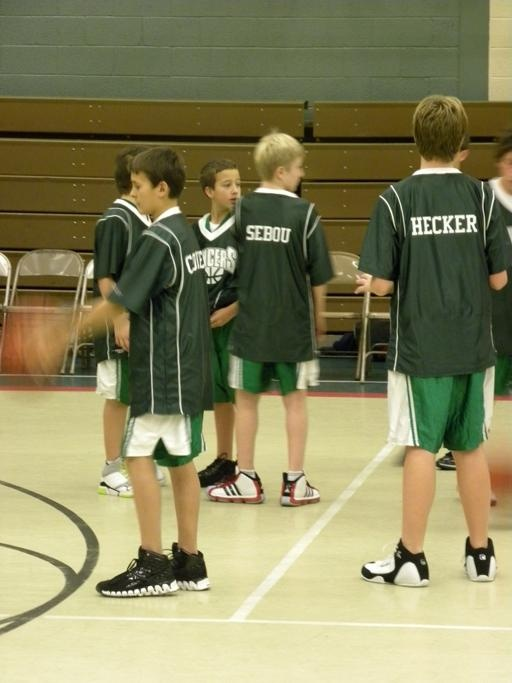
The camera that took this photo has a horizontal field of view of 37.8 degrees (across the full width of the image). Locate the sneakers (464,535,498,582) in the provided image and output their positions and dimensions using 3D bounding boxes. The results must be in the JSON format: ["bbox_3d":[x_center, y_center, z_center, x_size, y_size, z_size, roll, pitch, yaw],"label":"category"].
[{"bbox_3d":[0.661,0.643,2.192,0.093,0.064,0.184,1,16,11],"label":"sneakers"}]

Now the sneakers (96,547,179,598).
[{"bbox_3d":[-0.299,0.639,2.076,0.266,0.156,0.098,2,-3,-3],"label":"sneakers"}]

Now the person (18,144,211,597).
[{"bbox_3d":[-0.272,0.070,2.038,0.306,1.245,0.309,1,-2,-5],"label":"person"}]

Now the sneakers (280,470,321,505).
[{"bbox_3d":[0.188,0.621,3.181,0.087,0.129,0.217,3,7,33],"label":"sneakers"}]

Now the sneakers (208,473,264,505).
[{"bbox_3d":[-0.070,0.635,3.259,0.277,0.164,0.107,4,-1,9],"label":"sneakers"}]

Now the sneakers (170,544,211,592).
[{"bbox_3d":[-0.194,0.618,2.108,0.064,0.116,0.175,-8,22,-28],"label":"sneakers"}]

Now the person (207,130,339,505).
[{"bbox_3d":[0.066,-0.099,3.180,0.514,1.583,0.289,1,-2,2],"label":"person"}]

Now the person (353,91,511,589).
[{"bbox_3d":[0.511,0.005,2.132,0.462,1.383,0.259,1,-2,-1],"label":"person"}]

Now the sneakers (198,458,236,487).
[{"bbox_3d":[-0.168,0.608,3.530,0.276,0.100,0.089,-8,10,-43],"label":"sneakers"}]
